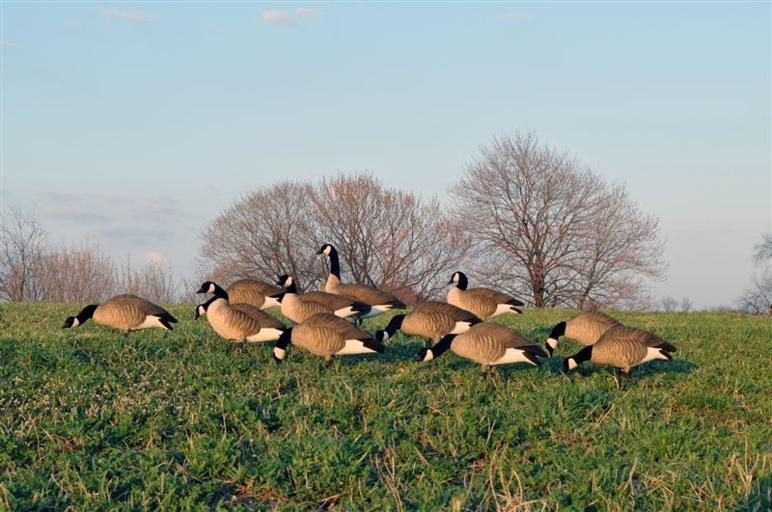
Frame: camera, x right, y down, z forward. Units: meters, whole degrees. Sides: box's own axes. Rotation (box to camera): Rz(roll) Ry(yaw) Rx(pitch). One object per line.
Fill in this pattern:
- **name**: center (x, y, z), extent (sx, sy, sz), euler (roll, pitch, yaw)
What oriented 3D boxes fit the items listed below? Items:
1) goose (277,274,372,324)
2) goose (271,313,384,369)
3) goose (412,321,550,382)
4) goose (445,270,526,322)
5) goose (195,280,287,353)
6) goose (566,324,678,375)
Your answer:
- **goose**: center (-1.819, 1.083, 24.849), extent (2.285, 1.364, 1.118), euler (1, -8, 7)
- **goose**: center (-1.267, 1.925, 22.336), extent (3.093, 1.259, 1.024), euler (-1, 4, 15)
- **goose**: center (2.128, 2.128, 22.132), extent (2.797, 0.960, 0.848), euler (-8, -1, 6)
- **goose**: center (2.618, 1.087, 26.150), extent (1.924, 1.297, 0.905), euler (1, 12, 5)
- **goose**: center (-3.435, 1.391, 23.632), extent (2.359, 1.413, 0.939), euler (3, 3, 3)
- **goose**: center (5.229, 2.131, 22.210), extent (2.681, 1.031, 0.825), euler (-8, 6, -3)
